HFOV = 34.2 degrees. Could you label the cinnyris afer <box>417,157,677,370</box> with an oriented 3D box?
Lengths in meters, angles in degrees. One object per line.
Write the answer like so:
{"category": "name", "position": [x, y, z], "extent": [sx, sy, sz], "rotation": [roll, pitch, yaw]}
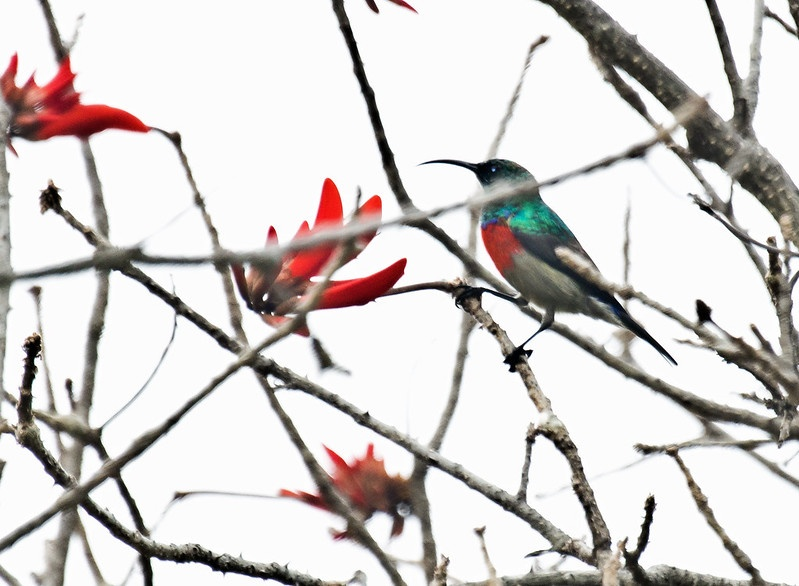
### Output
{"category": "cinnyris afer", "position": [0.402, -0.079, 3.593], "extent": [0.739, 0.248, 0.538], "rotation": [11, -107, -5]}

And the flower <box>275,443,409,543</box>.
{"category": "flower", "position": [-0.103, 0.394, 2.552], "extent": [0.272, 0.056, 0.174], "rotation": [14, -97, -9]}
